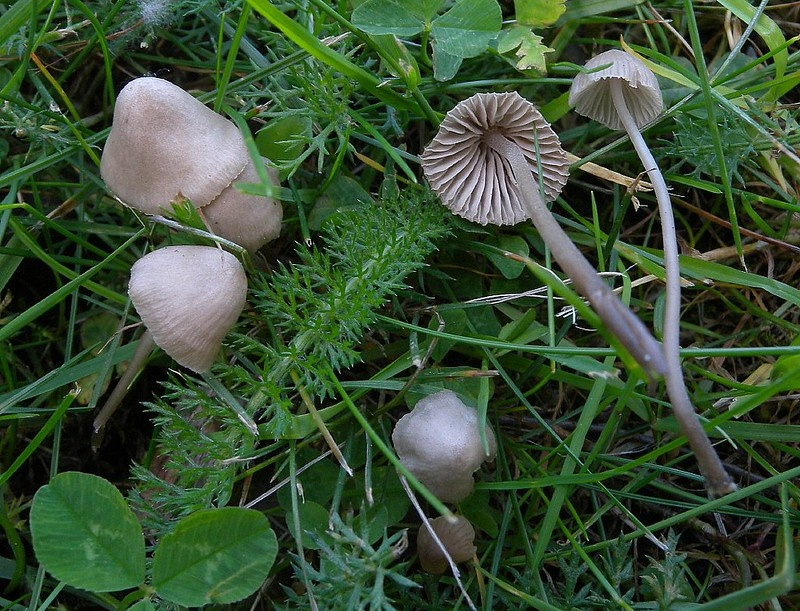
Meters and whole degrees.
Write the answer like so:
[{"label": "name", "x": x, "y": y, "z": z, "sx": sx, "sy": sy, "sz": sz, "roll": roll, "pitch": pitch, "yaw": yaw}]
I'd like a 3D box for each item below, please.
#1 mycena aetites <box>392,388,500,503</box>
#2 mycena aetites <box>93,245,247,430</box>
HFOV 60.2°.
[{"label": "mycena aetites", "x": 0.129, "y": 0.401, "z": 1.984, "sx": 0.264, "sy": 0.159, "sz": 0.285, "roll": -30, "pitch": 61, "yaw": -10}, {"label": "mycena aetites", "x": -0.581, "y": 0.005, "z": 1.979, "sx": 0.296, "sy": 0.309, "sz": 0.318, "roll": 33, "pitch": 70, "yaw": 23}]
